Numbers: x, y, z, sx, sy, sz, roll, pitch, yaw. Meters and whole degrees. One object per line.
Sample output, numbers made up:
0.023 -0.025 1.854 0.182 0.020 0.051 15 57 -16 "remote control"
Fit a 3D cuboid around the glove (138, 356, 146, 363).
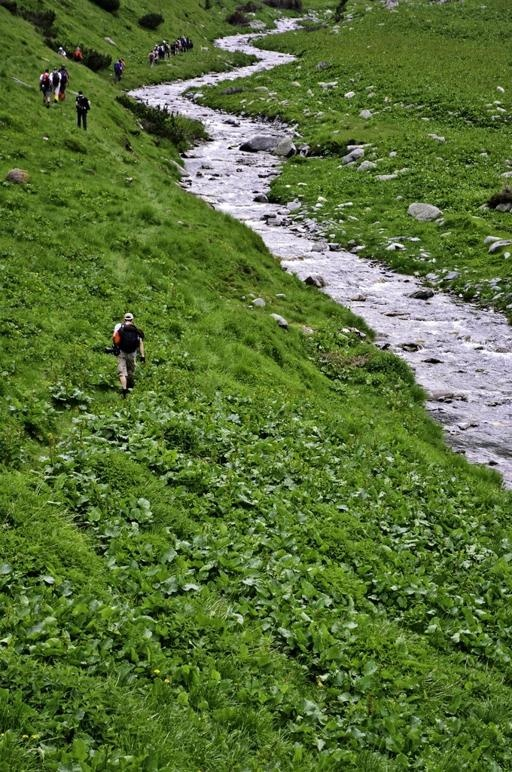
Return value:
-4.139 -0.965 46.985 0.246 0.289 0.979 2 0 -5 "glove"
